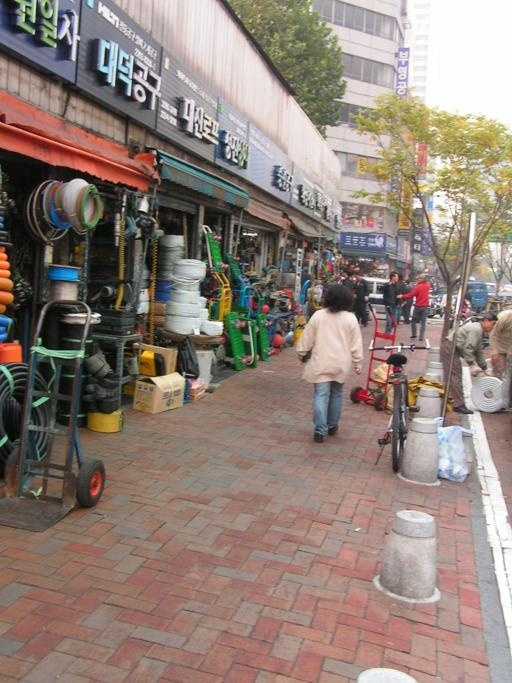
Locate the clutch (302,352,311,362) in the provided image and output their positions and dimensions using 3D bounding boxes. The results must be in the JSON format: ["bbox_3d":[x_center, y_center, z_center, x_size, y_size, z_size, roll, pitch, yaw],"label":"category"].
[{"bbox_3d":[0.625,0.198,6.269,0.121,0.118,0.100,-5,-18,17],"label":"clutch"}]

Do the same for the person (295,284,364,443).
[{"bbox_3d":[0.861,0.246,6.155,0.775,1.910,0.539,7,4,4],"label":"person"}]

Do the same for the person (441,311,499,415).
[{"bbox_3d":[3.429,0.355,8.457,0.777,1.380,3.106,8,4,22],"label":"person"}]

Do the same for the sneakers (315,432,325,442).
[{"bbox_3d":[0.745,1.128,6.053,0.117,0.147,0.200,7,4,10],"label":"sneakers"}]
